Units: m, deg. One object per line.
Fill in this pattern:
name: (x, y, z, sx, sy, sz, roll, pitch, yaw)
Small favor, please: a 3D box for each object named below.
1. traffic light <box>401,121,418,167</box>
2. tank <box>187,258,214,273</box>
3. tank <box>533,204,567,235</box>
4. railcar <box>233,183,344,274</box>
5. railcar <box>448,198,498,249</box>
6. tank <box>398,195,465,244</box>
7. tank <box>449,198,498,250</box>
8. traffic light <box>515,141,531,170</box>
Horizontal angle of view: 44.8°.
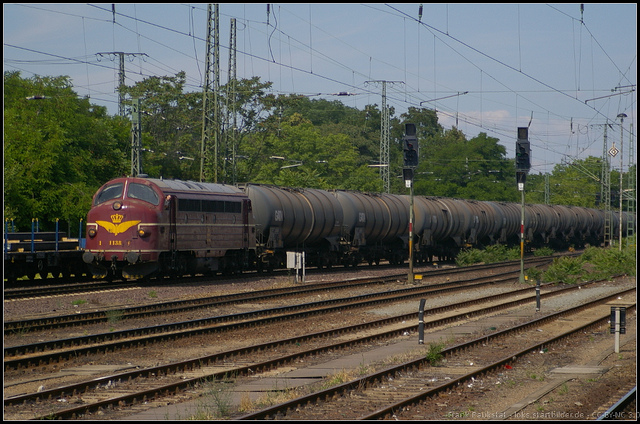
traffic light: (4.362, -3.177, 37.480, 0.738, 2.035, 0.663, 1, 3, 16)
tank: (-5.897, 2.387, 38.033, 0.785, 0.779, 0.677, -2, 8, 5)
tank: (21.079, 0.477, 71.690, 1.984, 2.366, 8.285, -3, -5, 19)
railcar: (-1.886, 0.789, 43.068, 3.131, 4.256, 8.549, 7, -2, -18)
railcar: (10.170, 0.566, 61.630, 3.374, 4.203, 6.903, -2, -2, 43)
tank: (7.959, 0.236, 55.286, 2.344, 3.022, 8.122, 12, 5, 36)
tank: (11.277, 0.634, 60.285, 2.020, 2.831, 7.084, -1, -3, 31)
traffic light: (9.927, -2.834, 38.131, 0.682, 1.354, 0.592, 1, 2, 6)
